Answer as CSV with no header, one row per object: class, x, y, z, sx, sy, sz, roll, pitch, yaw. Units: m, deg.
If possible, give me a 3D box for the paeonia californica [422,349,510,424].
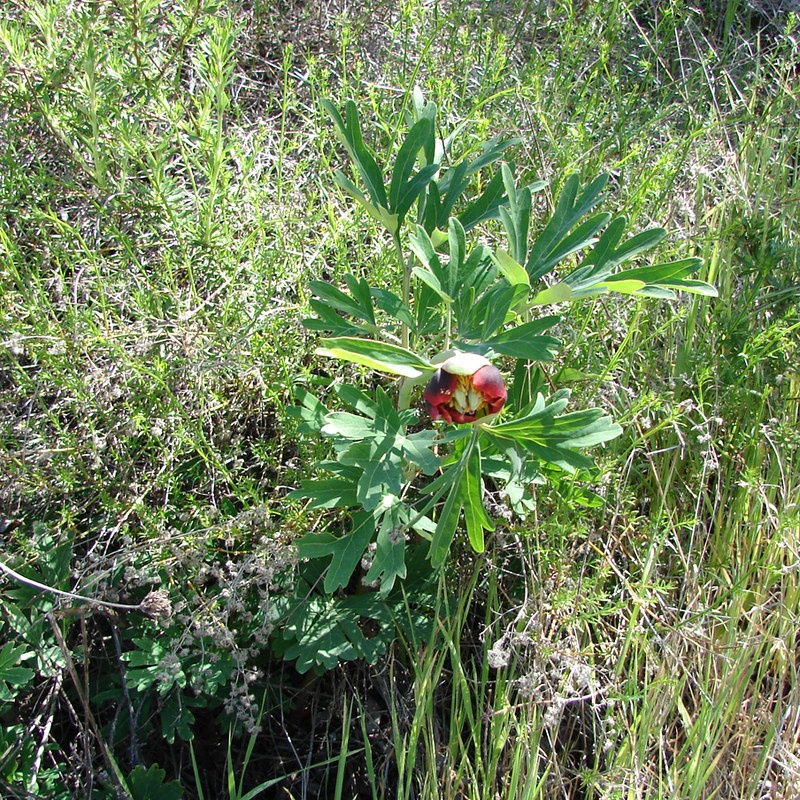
paeonia californica,0.155,-0.024,1.721,0.141,0.189,0.110,-5,-64,10
